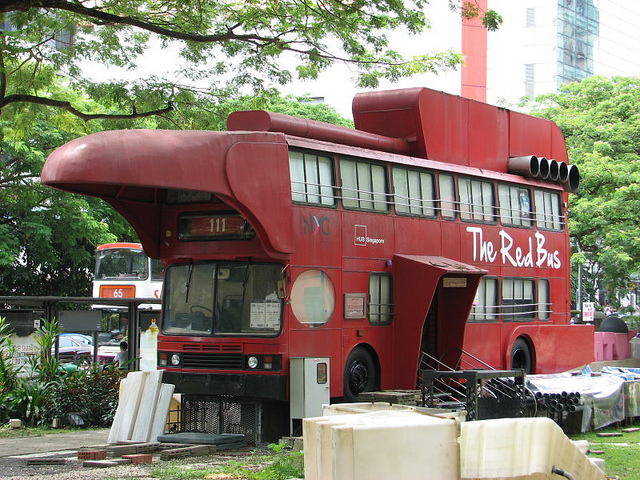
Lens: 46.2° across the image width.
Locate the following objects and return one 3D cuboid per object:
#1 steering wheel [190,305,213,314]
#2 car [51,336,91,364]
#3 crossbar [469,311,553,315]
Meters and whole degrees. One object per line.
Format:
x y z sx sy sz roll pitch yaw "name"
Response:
-2.328 1.342 14.520 0.540 0.177 0.082 -1 -10 38 "steering wheel"
-11.323 4.807 34.200 1.136 0.787 2.069 2 -9 22 "car"
4.745 1.832 19.020 4.537 0.070 0.060 6 -7 -40 "crossbar"
